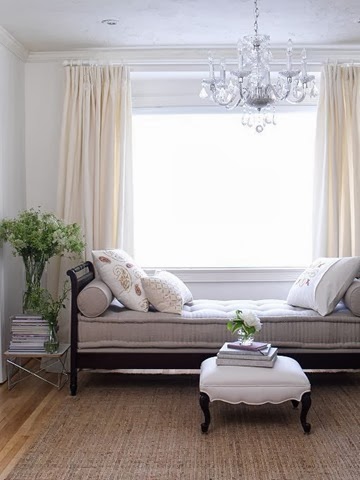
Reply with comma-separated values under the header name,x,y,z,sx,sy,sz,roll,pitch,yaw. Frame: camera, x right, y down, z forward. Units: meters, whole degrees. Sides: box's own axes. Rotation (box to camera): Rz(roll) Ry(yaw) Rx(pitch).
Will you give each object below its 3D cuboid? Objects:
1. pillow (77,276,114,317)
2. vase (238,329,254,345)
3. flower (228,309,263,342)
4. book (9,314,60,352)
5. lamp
name,x,y,z,sx,sy,sz,roll,pitch,yaw
pillow,-0.542,0.362,2.655,0.153,0.157,0.350,7,6,1
vase,0.352,0.508,2.213,0.072,0.075,0.076,0,-7,1
flower,0.325,0.455,2.214,0.138,0.169,0.178,-2,1,-41
book,-0.993,0.622,2.766,0.282,0.178,0.236,0,-4,1
lamp,0.538,-1.196,2.796,0.670,1.126,0.659,9,17,40
